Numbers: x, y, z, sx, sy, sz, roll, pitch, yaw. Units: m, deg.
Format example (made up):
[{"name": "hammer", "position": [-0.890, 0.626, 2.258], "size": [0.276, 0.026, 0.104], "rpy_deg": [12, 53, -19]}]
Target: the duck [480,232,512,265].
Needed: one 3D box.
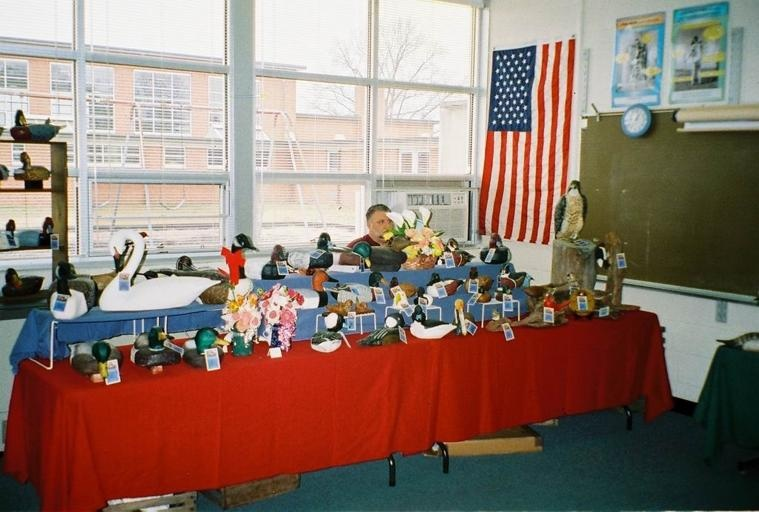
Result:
[{"name": "duck", "position": [1.087, -0.079, 5.275], "size": [0.300, 0.257, 0.292], "rpy_deg": [-2, 6, -18]}]

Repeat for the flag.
[{"name": "flag", "position": [1.773, -1.363, 6.894], "size": [0.391, 2.312, 1.231], "rpy_deg": [-7, 17, -28]}]

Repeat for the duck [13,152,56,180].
[{"name": "duck", "position": [-3.029, -0.780, 4.998], "size": [0.207, 0.247, 0.298], "rpy_deg": [5, 4, 42]}]

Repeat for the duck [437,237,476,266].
[{"name": "duck", "position": [0.656, -0.038, 5.125], "size": [0.239, 0.137, 0.301], "rpy_deg": [2, 8, -8]}]

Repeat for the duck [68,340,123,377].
[{"name": "duck", "position": [-1.776, 0.620, 3.571], "size": [0.310, 0.209, 0.292], "rpy_deg": [-3, 15, -15]}]

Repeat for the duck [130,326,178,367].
[{"name": "duck", "position": [-1.442, 0.570, 3.657], "size": [0.323, 0.142, 0.209], "rpy_deg": [2, 3, 44]}]

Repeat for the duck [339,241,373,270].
[{"name": "duck", "position": [-0.184, -0.020, 4.795], "size": [0.257, 0.193, 0.183], "rpy_deg": [0, 0, 40]}]

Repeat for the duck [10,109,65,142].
[{"name": "duck", "position": [-2.898, -1.092, 4.878], "size": [0.357, 0.195, 0.289], "rpy_deg": [-3, 11, -17]}]

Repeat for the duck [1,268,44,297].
[{"name": "duck", "position": [-2.995, 0.221, 4.817], "size": [0.304, 0.213, 0.199], "rpy_deg": [-1, 4, -38]}]

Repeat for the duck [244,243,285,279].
[{"name": "duck", "position": [-0.902, 0.056, 4.736], "size": [0.416, 0.243, 0.413], "rpy_deg": [2, 1, 23]}]

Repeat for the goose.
[{"name": "goose", "position": [-1.625, 0.126, 4.042], "size": [1.700, 0.698, 0.526], "rpy_deg": [1, -1, -17]}]

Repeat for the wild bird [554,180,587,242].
[{"name": "wild bird", "position": [1.789, -0.428, 5.366], "size": [0.255, 0.551, 0.166], "rpy_deg": [-2, 15, -12]}]

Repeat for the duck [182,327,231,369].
[{"name": "duck", "position": [-1.141, 0.580, 3.688], "size": [0.258, 0.226, 0.171], "rpy_deg": [2, 14, 3]}]

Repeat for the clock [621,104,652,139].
[{"name": "clock", "position": [2.568, -1.345, 5.741], "size": [0.092, 0.325, 0.306], "rpy_deg": [-10, 18, -36]}]
